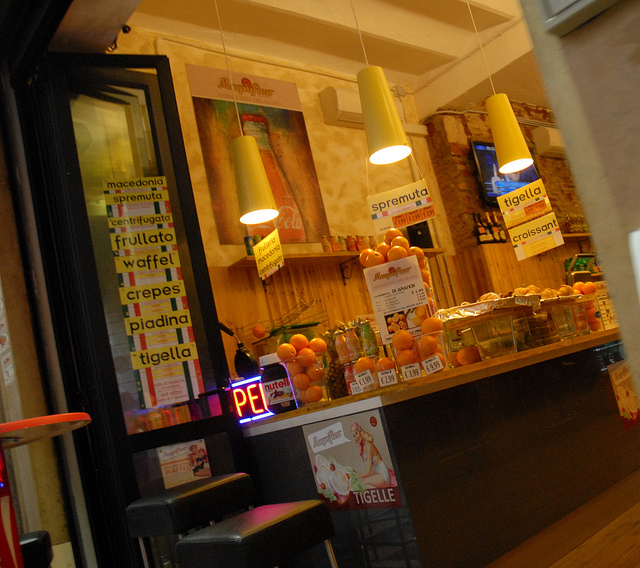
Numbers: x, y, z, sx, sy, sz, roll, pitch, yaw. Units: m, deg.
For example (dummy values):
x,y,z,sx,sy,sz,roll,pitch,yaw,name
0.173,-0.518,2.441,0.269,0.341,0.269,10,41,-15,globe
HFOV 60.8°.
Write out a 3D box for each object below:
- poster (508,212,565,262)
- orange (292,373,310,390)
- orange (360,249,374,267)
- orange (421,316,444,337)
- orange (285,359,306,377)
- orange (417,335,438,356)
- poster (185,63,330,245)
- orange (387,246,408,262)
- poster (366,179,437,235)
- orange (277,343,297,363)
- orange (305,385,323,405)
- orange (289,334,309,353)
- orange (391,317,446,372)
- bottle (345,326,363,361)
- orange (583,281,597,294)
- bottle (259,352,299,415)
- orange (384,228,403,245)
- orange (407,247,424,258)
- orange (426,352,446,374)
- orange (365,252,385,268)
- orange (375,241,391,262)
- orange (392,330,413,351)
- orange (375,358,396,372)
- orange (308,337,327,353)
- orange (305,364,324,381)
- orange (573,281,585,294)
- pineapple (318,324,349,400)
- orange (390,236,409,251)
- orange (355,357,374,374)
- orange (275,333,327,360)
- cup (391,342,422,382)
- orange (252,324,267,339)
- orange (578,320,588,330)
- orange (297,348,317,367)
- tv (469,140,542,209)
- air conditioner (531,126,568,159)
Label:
x,y,z,sx,sy,sz,roll,pitch,yaw,name
2.283,-0.510,5.794,0.149,0.406,0.509,-5,-9,-46,poster
-0.091,0.467,2.583,0.078,0.081,0.073,5,3,6,orange
0.201,-0.128,2.528,0.077,0.079,0.071,-5,-24,-3,orange
0.472,0.181,2.310,0.081,0.071,0.087,6,-11,-26,orange
-0.113,0.404,2.609,0.089,0.093,0.083,-1,-11,0,orange
0.452,0.261,2.344,0.086,0.093,0.078,4,-40,-5,orange
-0.646,-1.336,5.774,1.520,1.839,0.024,-9,-1,-45,poster
0.339,-0.133,2.418,0.071,0.075,0.064,-1,-45,-3,orange
0.609,-0.590,4.196,0.525,0.321,0.048,-19,29,-13,poster
-0.159,0.330,2.588,0.094,0.098,0.088,0,3,1,orange
-0.026,0.524,2.554,0.079,0.086,0.075,22,-22,-21,orange
-0.100,0.291,2.624,0.087,0.088,0.081,-1,-2,-2,orange
0.446,0.267,2.397,0.210,0.228,0.218,-24,-17,32,orange
0.148,0.269,2.458,0.061,0.152,0.054,-13,-7,6,bottle
1.679,0.027,3.400,0.084,0.088,0.079,-4,4,0,orange
-0.237,0.500,2.683,0.214,0.272,0.206,-12,-5,-1,bottle
0.338,-0.228,2.622,0.088,0.093,0.079,4,-45,-3,orange
0.438,-0.141,2.500,0.071,0.055,0.055,5,-38,-3,orange
0.509,0.339,2.315,0.091,0.096,0.084,2,-18,-5,orange
0.251,-0.117,2.486,0.069,0.073,0.067,-25,36,-23,orange
0.294,-0.148,2.551,0.085,0.091,0.076,-2,-43,-9,orange
0.347,0.247,2.353,0.088,0.090,0.081,-10,-8,-7,orange
0.274,0.346,2.305,0.069,0.070,0.063,2,-13,-6,orange
-0.012,0.297,2.653,0.075,0.066,0.082,-2,27,-16,orange
-0.027,0.429,2.655,0.081,0.082,0.076,-1,7,-1,orange
1.599,0.024,3.381,0.055,0.058,0.049,0,-30,-11,orange
0.085,0.361,2.566,0.156,0.331,0.301,-12,-7,-2,pineapple
0.366,-0.202,2.530,0.074,0.079,0.067,4,-48,2,orange
0.191,0.353,2.354,0.072,0.071,0.070,-17,-9,37,orange
-0.094,0.307,2.612,0.185,0.077,0.135,-7,-2,4,orange
0.362,0.350,2.369,0.149,0.167,0.138,-10,-25,-5,cup
-0.544,0.389,4.557,0.136,0.120,0.146,-6,-14,7,orange
1.517,0.242,3.160,0.059,0.061,0.055,-3,11,-8,orange
-0.066,0.349,2.580,0.088,0.091,0.080,0,-31,-8,orange
2.606,-1.525,7.432,0.120,0.868,1.297,-21,15,-15,tv
3.606,-2.283,8.684,0.356,0.445,0.586,-16,-8,29,air conditioner
